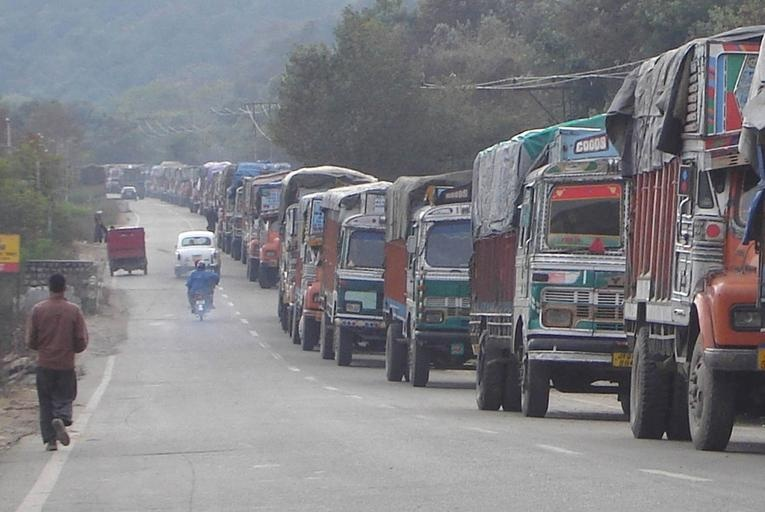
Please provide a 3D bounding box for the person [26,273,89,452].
[{"bbox_3d":[-4.895,1.654,18.954,0.872,2.614,1.086,0,1,-15],"label":"person"}]

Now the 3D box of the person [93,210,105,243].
[{"bbox_3d":[-17.633,-1.627,78.198,0.951,0.616,2.802,-10,-33,-18],"label":"person"}]
